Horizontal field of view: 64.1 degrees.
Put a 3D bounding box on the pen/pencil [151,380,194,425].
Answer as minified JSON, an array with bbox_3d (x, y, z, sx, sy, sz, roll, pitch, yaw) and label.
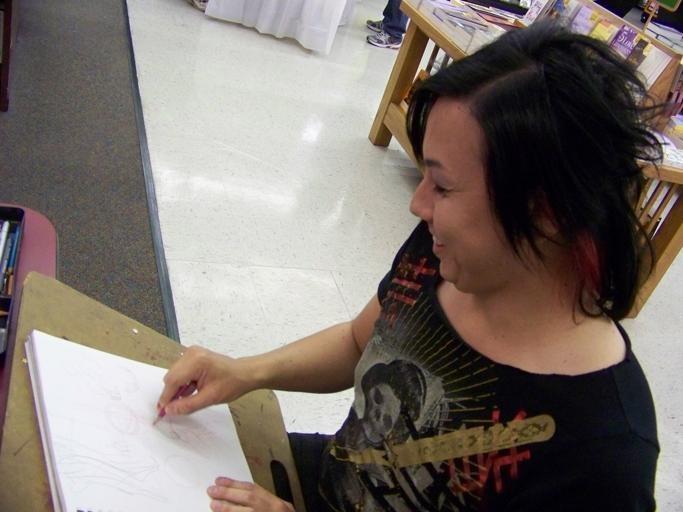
[{"bbox_3d":[-0.298,0.260,0.980,0.016,0.015,0.104,16,44,27],"label":"pen/pencil"}]
